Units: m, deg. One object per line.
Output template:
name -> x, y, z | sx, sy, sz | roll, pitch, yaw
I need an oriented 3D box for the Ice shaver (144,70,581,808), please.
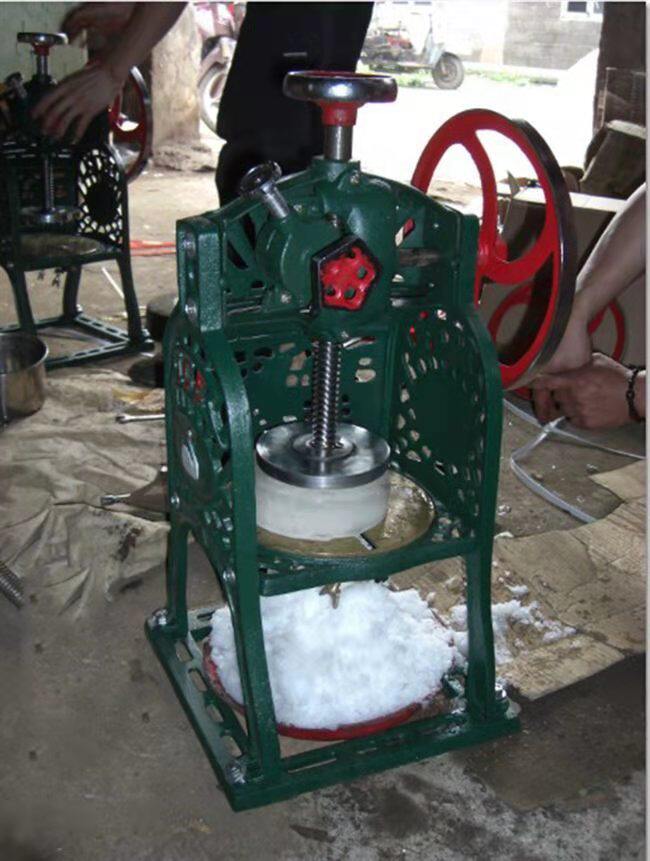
Ice shaver -> 0.078, -0.020, 1.064 | 0.678, 0.901, 0.568 | -8, 26, -22
